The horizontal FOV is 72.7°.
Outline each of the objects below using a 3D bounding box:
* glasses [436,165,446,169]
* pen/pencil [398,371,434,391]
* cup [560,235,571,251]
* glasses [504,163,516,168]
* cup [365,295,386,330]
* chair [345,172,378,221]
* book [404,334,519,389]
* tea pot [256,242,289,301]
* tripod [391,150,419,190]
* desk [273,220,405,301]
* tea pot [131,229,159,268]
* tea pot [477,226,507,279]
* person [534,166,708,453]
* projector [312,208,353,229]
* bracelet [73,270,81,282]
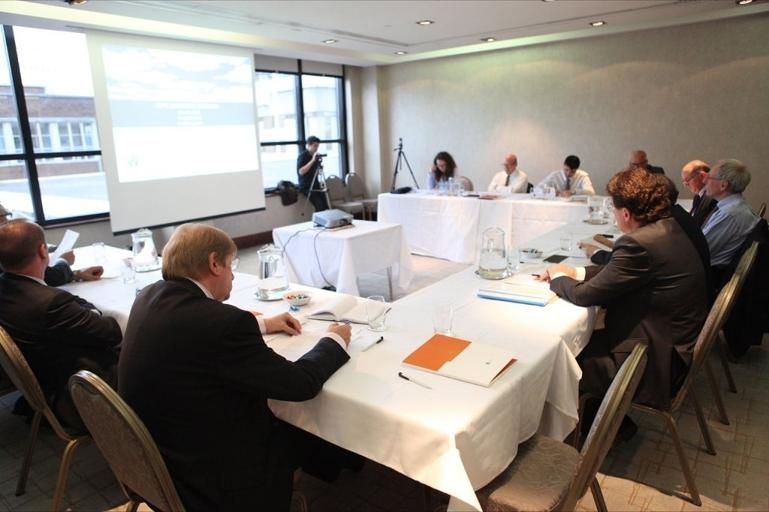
[{"bbox_3d":[0.788,-1.232,7.165,0.064,0.033,0.066,4,17,38],"label":"glasses"},{"bbox_3d":[0.141,0.572,2.397,0.139,0.017,0.020,23,30,32],"label":"pen/pencil"},{"bbox_3d":[1.364,-0.098,3.911,0.099,0.110,0.097,-2,7,0],"label":"cup"},{"bbox_3d":[1.741,-1.255,7.212,0.126,0.052,0.070,-6,14,-7],"label":"glasses"},{"bbox_3d":[-0.051,0.320,2.773,0.095,0.138,0.089,7,25,-3],"label":"cup"},{"bbox_3d":[-0.362,-0.936,8.812,0.573,0.884,0.519,9,19,23],"label":"chair"},{"bbox_3d":[0.339,0.491,2.558,0.544,0.063,0.493,4,11,14],"label":"book"},{"bbox_3d":[-0.654,0.117,3.255,0.179,0.273,0.286,8,-4,-41],"label":"tea pot"},{"bbox_3d":[0.306,-1.526,9.228,0.542,0.769,0.561,4,17,20],"label":"tripod"},{"bbox_3d":[-0.309,-0.030,5.208,0.982,0.532,0.911,4,8,34],"label":"desk"},{"bbox_3d":[-1.805,-0.052,3.964,0.280,0.303,0.270,-3,-1,0],"label":"tea pot"},{"bbox_3d":[0.717,-0.008,3.453,0.270,0.299,0.289,-1,2,0],"label":"tea pot"},{"bbox_3d":[1.498,0.309,3.291,0.971,1.634,0.710,14,25,41],"label":"person"},{"bbox_3d":[-0.555,-0.371,5.046,0.246,0.079,0.245,14,18,42],"label":"projector"},{"bbox_3d":[-2.183,0.134,3.688,0.058,0.072,0.066,1,18,-29],"label":"bracelet"}]
